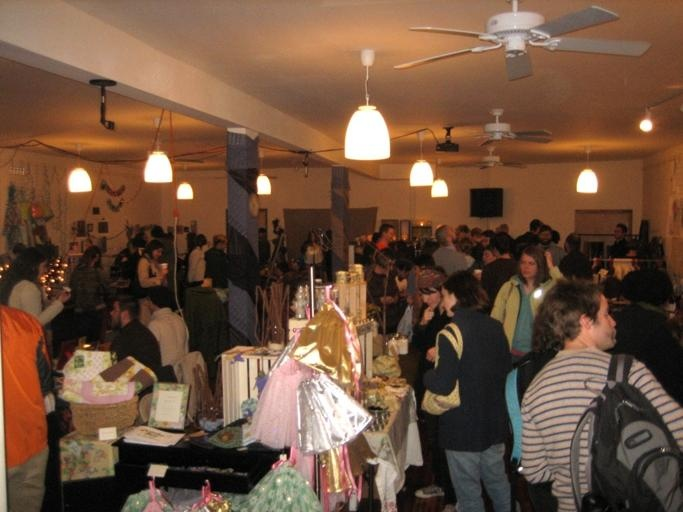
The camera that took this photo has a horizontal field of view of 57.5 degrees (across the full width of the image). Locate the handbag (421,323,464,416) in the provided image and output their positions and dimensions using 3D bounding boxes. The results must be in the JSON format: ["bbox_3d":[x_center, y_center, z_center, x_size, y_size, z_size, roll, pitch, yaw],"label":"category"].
[{"bbox_3d":[0.591,0.716,3.900,0.197,0.525,0.315,1,1,-2],"label":"handbag"}]
